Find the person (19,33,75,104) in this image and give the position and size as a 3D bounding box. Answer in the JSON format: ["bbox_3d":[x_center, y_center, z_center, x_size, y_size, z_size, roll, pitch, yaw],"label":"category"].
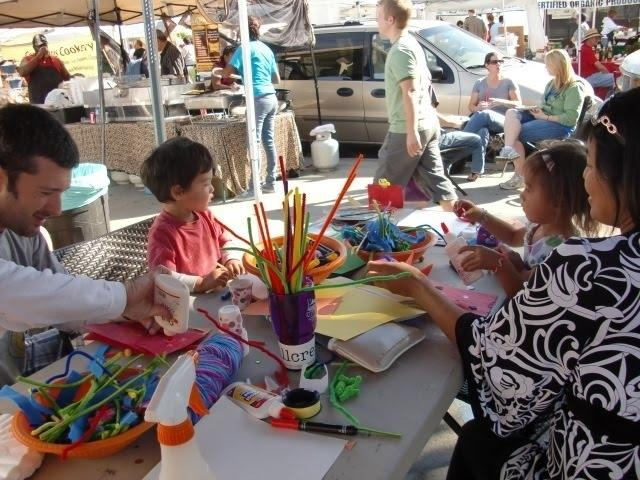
[{"bbox_3d":[-3.996,-2.440,6.781,0.603,0.901,0.430,-9,13,-19],"label":"person"}]

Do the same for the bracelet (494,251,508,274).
[{"bbox_3d":[0.590,0.071,1.544,0.041,0.012,0.067,-11,48,44],"label":"bracelet"}]

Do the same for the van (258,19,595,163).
[{"bbox_3d":[1.417,-2.302,7.035,3.737,1.555,1.893,4,27,17],"label":"van"}]

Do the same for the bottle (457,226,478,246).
[{"bbox_3d":[0.615,-0.024,1.952,0.094,0.052,0.120,9,26,25],"label":"bottle"}]

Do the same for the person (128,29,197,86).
[{"bbox_3d":[-2.411,-2.821,7.197,0.684,1.001,1.524,-8,12,-13],"label":"person"}]

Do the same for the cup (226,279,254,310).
[{"bbox_3d":[-0.254,0.174,1.513,0.080,0.073,0.088,-1,12,0],"label":"cup"}]

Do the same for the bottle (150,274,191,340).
[{"bbox_3d":[-0.427,0.191,1.321,0.128,0.164,0.064,24,26,23],"label":"bottle"}]

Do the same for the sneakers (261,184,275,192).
[{"bbox_3d":[-0.640,-0.633,5.686,0.139,0.054,0.086,7,16,33],"label":"sneakers"}]
